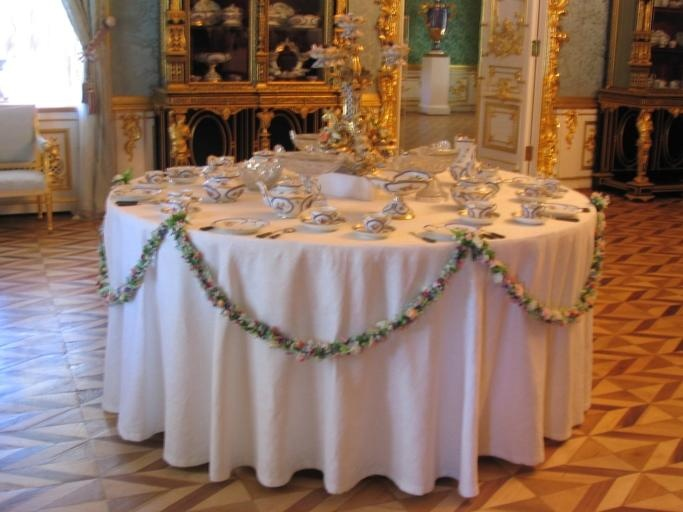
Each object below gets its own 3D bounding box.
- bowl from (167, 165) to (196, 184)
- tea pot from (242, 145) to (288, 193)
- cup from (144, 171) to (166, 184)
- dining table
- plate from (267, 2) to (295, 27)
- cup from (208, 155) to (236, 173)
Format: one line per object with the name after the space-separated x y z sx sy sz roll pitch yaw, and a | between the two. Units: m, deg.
-0.854 -0.439 3.252 0.129 0.058 0.122 -2 13 0 | bowl
-0.412 -0.467 3.258 0.208 0.143 0.352 6 14 3 | tea pot
-0.991 -0.429 3.213 0.093 0.037 0.079 2 -2 -17 | cup
-0.005 0.130 2.437 1.505 0.662 1.471 9 17 26 | dining table
-0.617 -2.425 6.056 0.255 0.226 0.058 -10 28 -21 | plate
-0.694 -0.525 3.458 0.158 0.076 0.186 1 8 -1 | cup
